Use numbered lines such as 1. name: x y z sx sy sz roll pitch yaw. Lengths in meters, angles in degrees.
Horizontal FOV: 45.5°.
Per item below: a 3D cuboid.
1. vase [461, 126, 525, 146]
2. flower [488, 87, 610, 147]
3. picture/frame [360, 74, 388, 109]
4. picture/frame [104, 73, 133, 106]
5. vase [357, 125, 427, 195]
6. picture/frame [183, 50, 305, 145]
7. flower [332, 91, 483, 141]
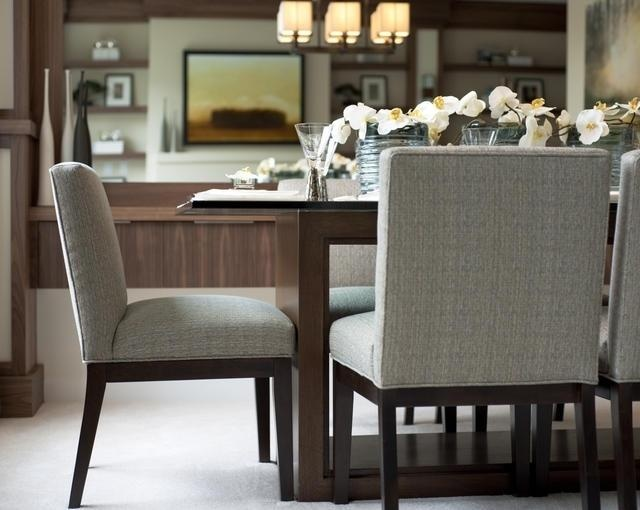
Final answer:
1. vase: 0.575 -0.404 2.568 0.107 0.048 0.142 4 6 28
2. flower: 0.766 -0.461 2.549 0.337 0.154 0.242 21 39 9
3. picture/frame: 0.296 -0.895 4.178 0.148 0.171 0.014 -3 3 -17
4. picture/frame: -1.005 -0.826 3.800 0.121 0.164 0.008 -1 -17 -10
5. vase: 0.217 -0.322 2.573 0.176 0.205 0.197 -11 8 -18
6. picture/frame: -0.417 -0.809 3.873 0.690 0.521 0.032 -1 5 -7
7. flower: 0.274 -0.465 2.550 0.504 0.187 0.199 -9 12 -12
